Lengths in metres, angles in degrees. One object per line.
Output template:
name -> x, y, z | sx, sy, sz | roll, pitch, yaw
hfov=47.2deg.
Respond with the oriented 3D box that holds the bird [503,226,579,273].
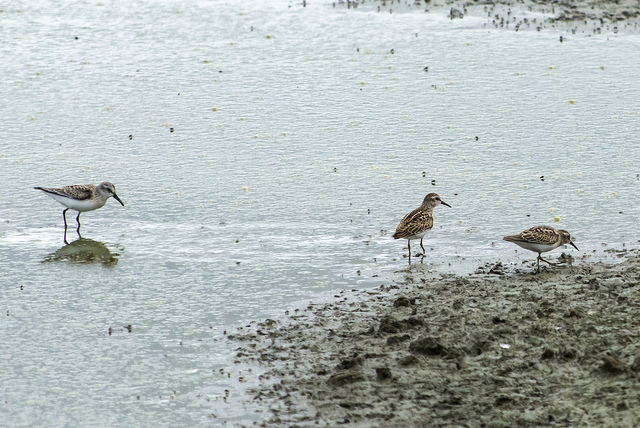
bird -> 5.898, 0.924, 19.539 | 1.705, 1.187, 0.665 | -4, 10, -26
